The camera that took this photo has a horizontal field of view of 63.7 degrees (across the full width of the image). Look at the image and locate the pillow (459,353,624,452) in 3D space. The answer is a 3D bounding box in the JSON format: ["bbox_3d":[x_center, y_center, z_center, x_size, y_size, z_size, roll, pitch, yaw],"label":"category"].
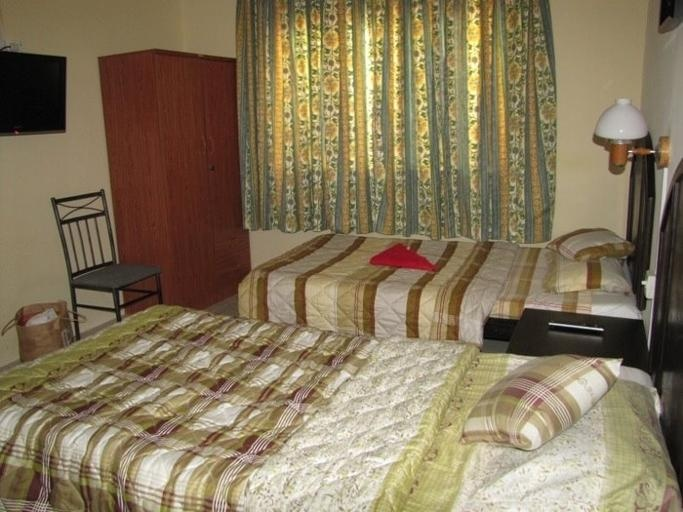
[{"bbox_3d":[0.758,0.543,2.102,0.581,0.251,0.321,-13,16,-32],"label":"pillow"}]

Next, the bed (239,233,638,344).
[{"bbox_3d":[0.646,0.217,3.807,1.918,0.492,1.176,7,26,16],"label":"bed"}]

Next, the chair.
[{"bbox_3d":[-2.047,0.112,4.560,0.595,1.051,0.659,-6,-12,-44],"label":"chair"}]

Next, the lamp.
[{"bbox_3d":[1.340,-0.625,2.744,0.410,0.403,0.283,4,13,19],"label":"lamp"}]
